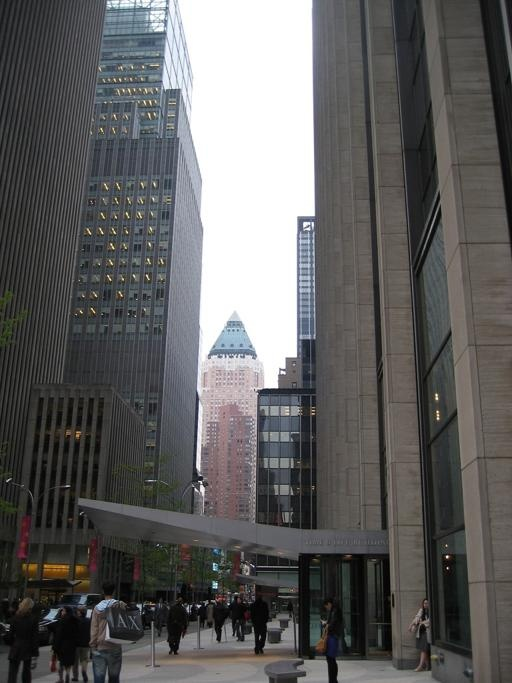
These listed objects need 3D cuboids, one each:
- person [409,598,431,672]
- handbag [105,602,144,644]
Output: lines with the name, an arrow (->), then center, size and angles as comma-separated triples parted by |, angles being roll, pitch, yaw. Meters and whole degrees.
person -> 3.694, 6.612, 13.851 | 0.422, 1.535, 2.870 | -5, -19, 13
handbag -> -1.485, 3.224, 7.050 | 0.491, 0.376, 0.430 | 13, -23, -36
